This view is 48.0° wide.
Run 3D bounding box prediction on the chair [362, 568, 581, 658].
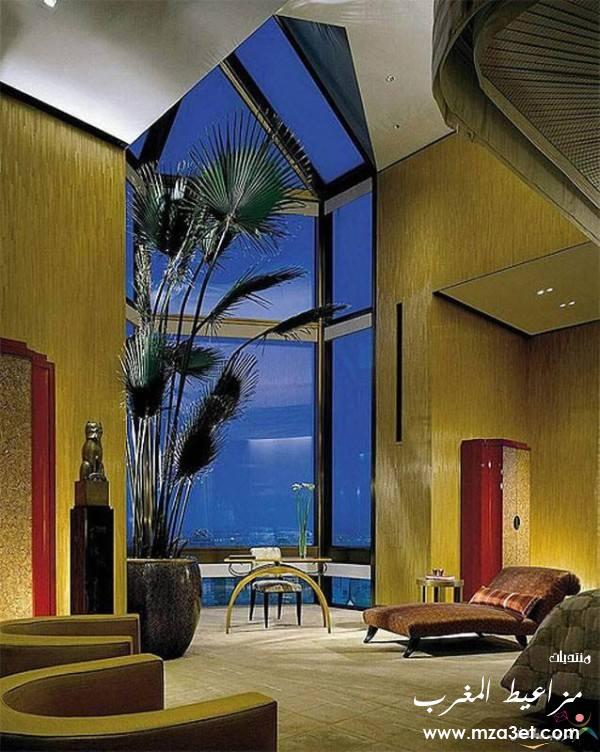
[{"bbox_3d":[1.361,1.793,5.210,1.308,0.663,0.851,6,-15,-20],"label":"chair"}]
